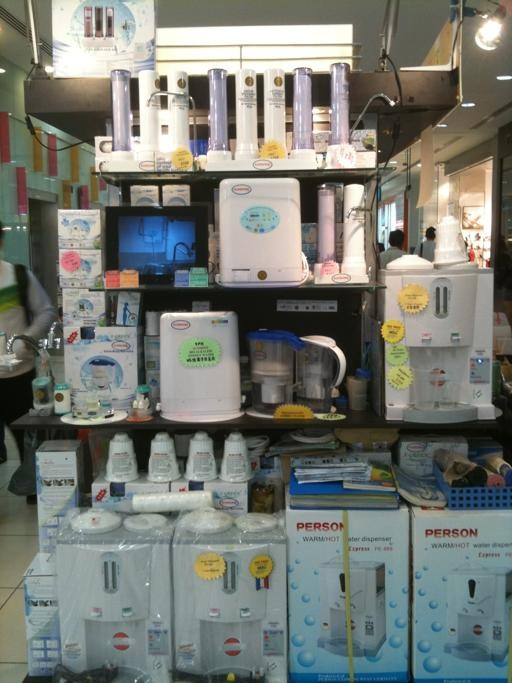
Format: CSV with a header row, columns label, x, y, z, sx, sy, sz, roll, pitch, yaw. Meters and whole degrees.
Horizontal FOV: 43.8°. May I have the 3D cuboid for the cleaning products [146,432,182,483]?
label,x,y,z,sx,sy,sz,roll,pitch,yaw
cleaning products,-0.347,0.416,2.345,0.127,0.160,0.134,9,14,39

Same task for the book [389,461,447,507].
label,x,y,z,sx,sy,sz,roll,pitch,yaw
book,0.570,0.505,2.233,0.123,0.041,0.208,6,8,5

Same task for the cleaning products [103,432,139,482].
label,x,y,z,sx,sy,sz,roll,pitch,yaw
cleaning products,-0.497,0.422,2.352,0.131,0.161,0.127,0,6,-1

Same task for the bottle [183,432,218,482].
label,x,y,z,sx,sy,sz,roll,pitch,yaw
bottle,-0.206,0.425,2.306,0.165,0.181,0.154,2,-10,-9

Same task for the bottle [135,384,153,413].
label,x,y,z,sx,sy,sz,roll,pitch,yaw
bottle,-0.408,0.213,2.357,0.065,0.093,0.100,2,5,3

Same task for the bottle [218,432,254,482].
label,x,y,z,sx,sy,sz,roll,pitch,yaw
bottle,-0.073,0.430,2.301,0.159,0.181,0.153,2,-13,-10

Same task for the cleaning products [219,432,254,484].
label,x,y,z,sx,sy,sz,roll,pitch,yaw
cleaning products,-0.111,0.410,2.290,0.158,0.181,0.154,1,-14,-6

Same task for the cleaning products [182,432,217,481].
label,x,y,z,sx,sy,sz,roll,pitch,yaw
cleaning products,-0.204,0.422,2.307,0.164,0.179,0.153,2,-11,-10

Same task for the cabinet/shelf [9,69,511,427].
label,x,y,z,sx,sy,sz,roll,pitch,yaw
cabinet/shelf,0.245,-0.387,2.367,1.213,1.340,0.460,0,3,4
